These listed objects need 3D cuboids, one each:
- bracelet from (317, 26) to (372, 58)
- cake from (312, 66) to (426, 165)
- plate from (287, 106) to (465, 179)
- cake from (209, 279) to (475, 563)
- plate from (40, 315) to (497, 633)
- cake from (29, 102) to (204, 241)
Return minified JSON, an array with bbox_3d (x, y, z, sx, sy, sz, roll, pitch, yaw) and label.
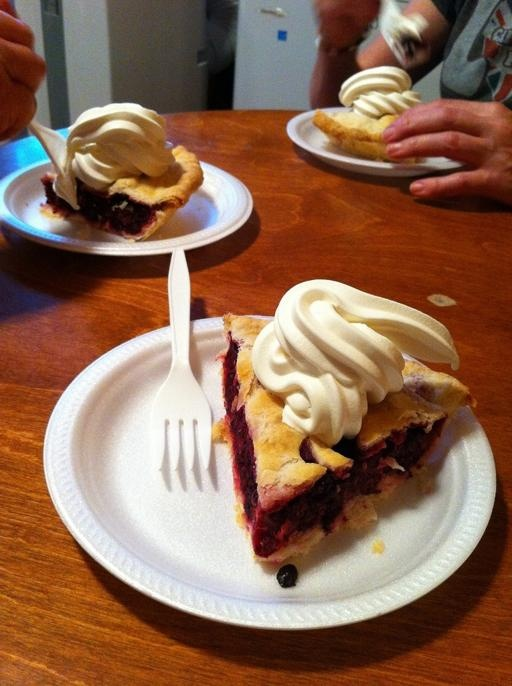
[{"bbox_3d":[0.400,-1.393,3.018,0.205,0.068,0.189,-3,6,-2],"label":"bracelet"},{"bbox_3d":[0.455,-0.971,2.728,0.520,0.270,0.506,3,37,0],"label":"cake"},{"bbox_3d":[0.481,-0.754,2.539,0.538,0.061,0.430,-1,38,-11],"label":"plate"},{"bbox_3d":[0.154,0.161,1.298,0.561,0.350,0.493,-8,41,-28],"label":"cake"},{"bbox_3d":[-0.016,0.232,1.189,0.803,0.147,0.650,21,40,22],"label":"plate"},{"bbox_3d":[-0.398,-0.520,2.179,0.536,0.327,0.528,26,35,26],"label":"cake"}]
